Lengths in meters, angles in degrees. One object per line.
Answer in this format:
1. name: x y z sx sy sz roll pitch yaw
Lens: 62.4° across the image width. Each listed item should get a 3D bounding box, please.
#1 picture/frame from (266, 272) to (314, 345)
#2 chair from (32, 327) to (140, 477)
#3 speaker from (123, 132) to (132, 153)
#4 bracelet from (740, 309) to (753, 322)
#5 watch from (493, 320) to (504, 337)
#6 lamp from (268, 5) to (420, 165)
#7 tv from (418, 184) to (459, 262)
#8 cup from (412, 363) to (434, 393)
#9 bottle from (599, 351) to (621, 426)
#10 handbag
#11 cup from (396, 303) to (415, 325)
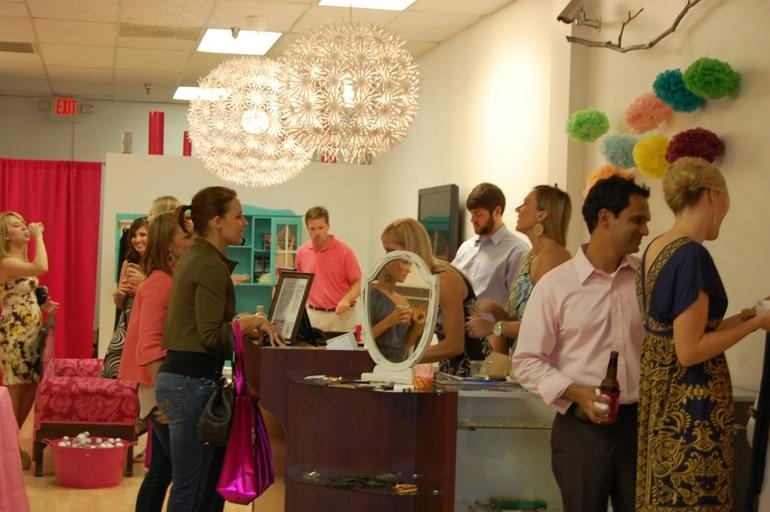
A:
1. picture/frame: -0.576 0.306 3.905 0.018 0.402 0.394 11 -5 17
2. chair: -3.025 1.336 6.266 0.891 1.178 1.157 6 2 -35
3. speaker: -3.911 -1.711 9.667 0.131 0.374 0.362 1 0 -17
4. bracelet: 1.791 0.287 3.123 0.074 0.064 0.033 -5 -14 33
5. watch: 0.726 0.474 4.025 0.056 0.082 0.078 -3 9 1
6. lamp: -0.303 -1.205 5.372 0.860 0.912 0.847 13 25 28
7. tv: 0.616 -0.345 7.866 0.090 0.921 0.917 4 3 30
8. cup: 0.201 0.616 3.192 0.090 0.108 0.098 2 -7 0
9. bottle: 1.066 0.609 2.994 0.087 0.314 0.168 1 0 20
10. handbag: -0.769 1.075 3.532 0.296 0.615 0.128 1 0 -15
11. cup: 0.109 0.298 3.177 0.067 0.086 0.090 0 -15 5
